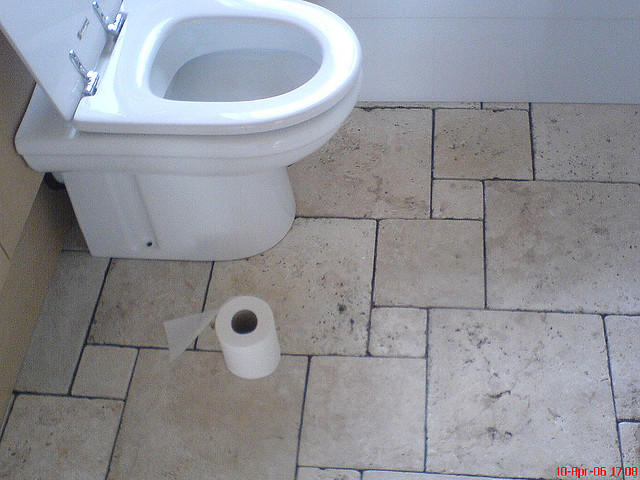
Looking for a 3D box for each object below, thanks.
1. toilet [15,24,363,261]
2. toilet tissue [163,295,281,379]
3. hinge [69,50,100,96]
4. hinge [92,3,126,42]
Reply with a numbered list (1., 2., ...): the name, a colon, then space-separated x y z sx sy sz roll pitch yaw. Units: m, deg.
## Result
1. toilet: -0.291 -0.320 1.662 0.731 0.531 0.514 0 55 -4
2. toilet tissue: -0.235 0.202 1.540 0.297 0.237 0.177 -10 59 -1
3. hinge: -0.522 -0.361 1.394 0.026 0.077 0.122 -24 80 -14
4. hinge: -0.491 -0.503 1.448 0.051 0.105 0.099 -6 77 -3
